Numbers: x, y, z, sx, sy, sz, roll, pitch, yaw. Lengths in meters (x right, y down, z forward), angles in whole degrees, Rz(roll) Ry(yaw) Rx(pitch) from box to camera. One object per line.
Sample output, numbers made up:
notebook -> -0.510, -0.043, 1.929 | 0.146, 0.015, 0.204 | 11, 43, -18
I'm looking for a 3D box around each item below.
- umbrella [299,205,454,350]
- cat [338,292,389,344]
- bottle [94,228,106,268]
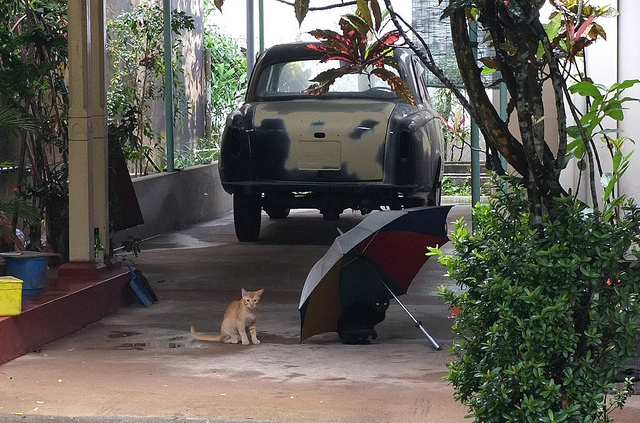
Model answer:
umbrella -> 0.417, 0.491, 5.702 | 1.357, 1.066, 0.382 | -3, 9, -23
cat -> 0.421, 0.948, 6.136 | 0.592, 0.437, 0.412 | -3, -9, 12
bottle -> -2.247, 0.367, 6.953 | 0.090, 0.365, 0.383 | -3, 8, -18
